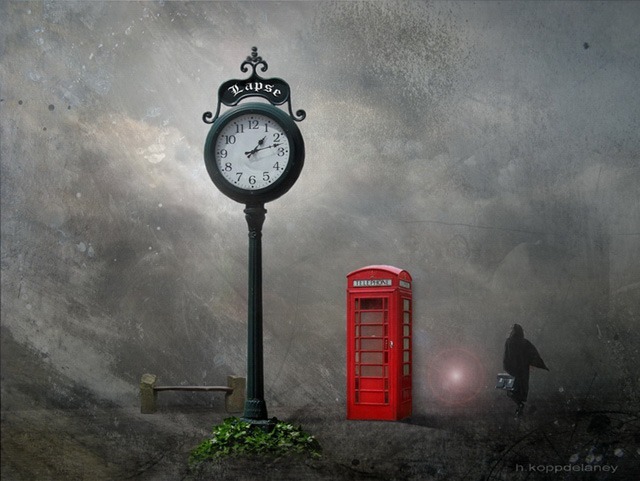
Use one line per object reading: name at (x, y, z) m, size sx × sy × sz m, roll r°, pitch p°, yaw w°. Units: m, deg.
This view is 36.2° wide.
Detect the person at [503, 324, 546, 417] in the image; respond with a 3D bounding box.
person at (2.658, 1.758, 13.225) m, size 0.451 × 1.040 × 0.471 m, roll 24°, pitch -43°, yaw -20°

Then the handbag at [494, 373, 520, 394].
handbag at (2.490, 1.910, 13.262) m, size 0.338 × 0.342 × 0.211 m, roll 4°, pitch -3°, yaw 29°
